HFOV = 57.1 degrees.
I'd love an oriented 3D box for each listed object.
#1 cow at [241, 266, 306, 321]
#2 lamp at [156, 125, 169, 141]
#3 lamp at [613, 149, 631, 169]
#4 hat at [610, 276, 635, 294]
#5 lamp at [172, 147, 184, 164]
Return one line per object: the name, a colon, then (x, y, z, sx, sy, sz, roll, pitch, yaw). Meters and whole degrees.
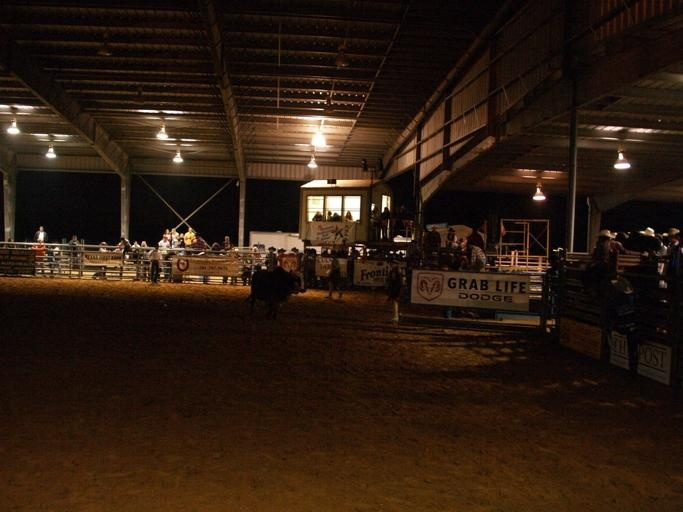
cow: (-1.786, 1.006, 16.551, 1.681, 1.369, 0.572, 6, -1, 36)
lamp: (-8.609, -5.938, 30.156, 0.582, 0.640, 0.572, 7, -21, -35)
lamp: (9.452, -3.277, 21.148, 0.594, 0.708, 0.618, -3, 2, 0)
hat: (5.468, 0.604, 12.276, 0.267, 0.164, 0.401, 1, 12, 2)
lamp: (-8.777, -5.357, 33.808, 0.766, 0.822, 0.779, -3, 6, -18)
